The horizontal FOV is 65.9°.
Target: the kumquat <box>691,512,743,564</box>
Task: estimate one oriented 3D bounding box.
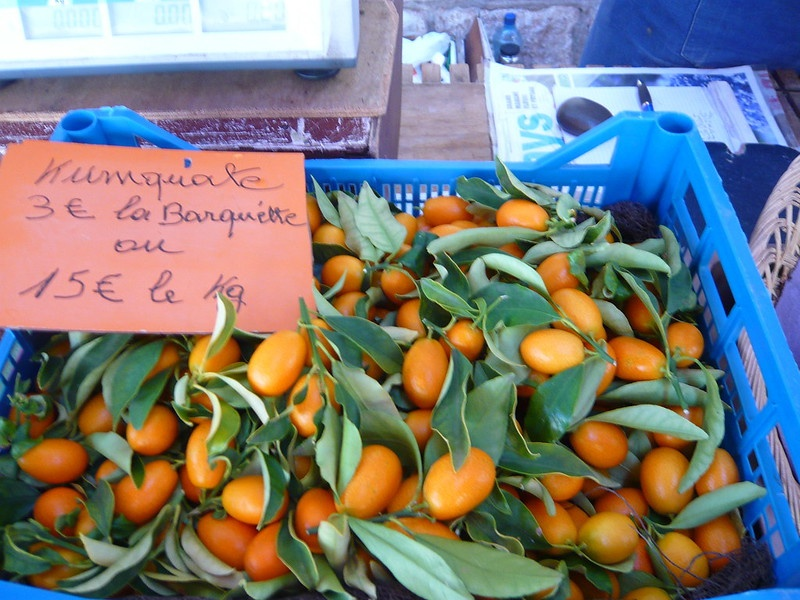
[{"bbox_3d":[0.373,0.280,0.718,0.039,0.042,0.052,-12,24,-29],"label":"kumquat"}]

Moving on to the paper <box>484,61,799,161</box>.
[{"bbox_3d":[0.523,-0.424,1.452,0.592,0.106,0.369,2,59,-2],"label":"paper"}]

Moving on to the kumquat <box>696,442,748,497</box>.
[{"bbox_3d":[0.387,0.213,0.766,0.062,0.057,0.074,-18,74,33],"label":"kumquat"}]
